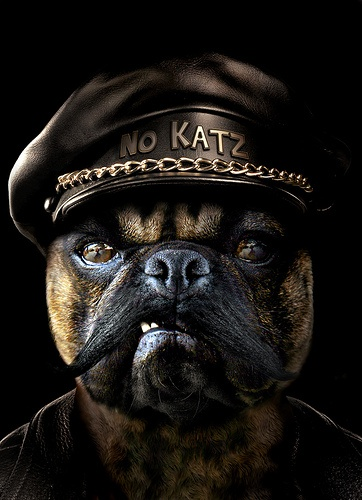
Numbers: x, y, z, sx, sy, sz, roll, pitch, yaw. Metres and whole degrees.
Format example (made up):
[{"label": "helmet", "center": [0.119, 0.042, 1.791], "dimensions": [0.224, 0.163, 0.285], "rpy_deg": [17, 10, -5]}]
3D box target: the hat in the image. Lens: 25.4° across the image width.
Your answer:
[{"label": "hat", "center": [-0.029, -0.336, 2.547], "dimensions": [1.107, 0.379, 0.494], "rpy_deg": [-8, 77, 0]}]
